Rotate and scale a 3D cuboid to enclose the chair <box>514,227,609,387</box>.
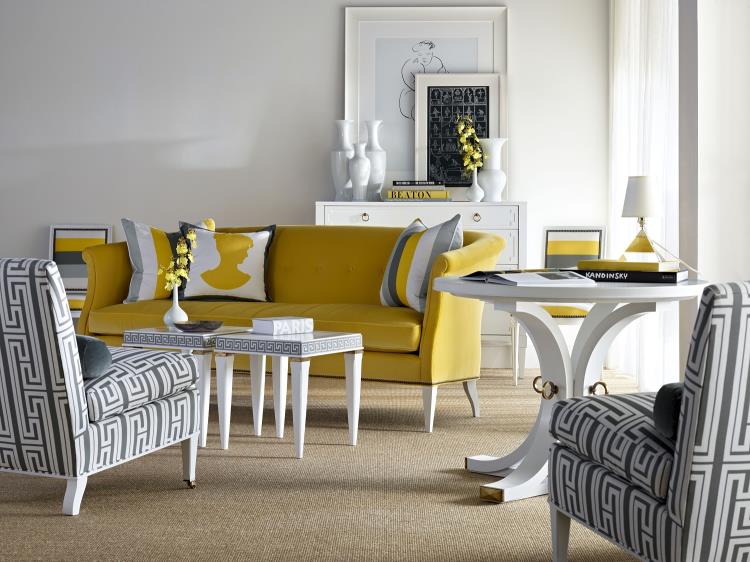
[{"bbox_3d":[1.430,0.304,5.272,0.633,1.241,0.704,-1,34,-9],"label":"chair"}]

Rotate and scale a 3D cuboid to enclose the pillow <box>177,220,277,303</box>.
[{"bbox_3d":[-0.947,-0.101,4.575,0.449,0.467,0.178,2,-13,1],"label":"pillow"}]

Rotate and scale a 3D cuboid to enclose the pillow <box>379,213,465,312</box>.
[{"bbox_3d":[0.249,-0.085,4.242,0.272,0.589,0.619,2,0,-25],"label":"pillow"}]

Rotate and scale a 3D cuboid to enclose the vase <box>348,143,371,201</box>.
[{"bbox_3d":[-0.122,-0.838,5.591,0.172,0.429,0.154,0,5,-1],"label":"vase"}]

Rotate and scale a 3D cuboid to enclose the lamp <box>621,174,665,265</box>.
[{"bbox_3d":[1.675,-0.393,4.537,0.304,0.515,0.311,-6,7,-9],"label":"lamp"}]

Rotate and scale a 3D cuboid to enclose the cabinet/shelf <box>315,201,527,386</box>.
[{"bbox_3d":[0.271,0.082,4.162,1.189,1.241,0.492,0,-2,12],"label":"cabinet/shelf"}]

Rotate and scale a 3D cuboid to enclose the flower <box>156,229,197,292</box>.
[{"bbox_3d":[-1.184,-0.108,4.275,0.109,0.374,0.383,7,-5,-17],"label":"flower"}]

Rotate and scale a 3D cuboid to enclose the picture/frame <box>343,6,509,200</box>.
[{"bbox_3d":[0.448,-1.461,5.777,1.452,1.841,0.097,0,2,3],"label":"picture/frame"}]

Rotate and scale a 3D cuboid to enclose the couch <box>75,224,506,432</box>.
[{"bbox_3d":[-0.643,0.173,4.480,2.321,1.099,1.020,1,5,12],"label":"couch"}]

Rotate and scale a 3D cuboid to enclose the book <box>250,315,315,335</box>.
[{"bbox_3d":[-0.439,0.216,3.429,0.302,0.083,0.103,-3,5,-38],"label":"book"}]

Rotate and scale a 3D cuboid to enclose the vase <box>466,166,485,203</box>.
[{"bbox_3d":[0.792,-0.736,5.541,0.119,0.282,0.373,1,4,8],"label":"vase"}]

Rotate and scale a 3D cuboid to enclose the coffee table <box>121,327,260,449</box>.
[{"bbox_3d":[-0.927,0.488,3.636,0.537,0.569,0.563,0,0,18],"label":"coffee table"}]

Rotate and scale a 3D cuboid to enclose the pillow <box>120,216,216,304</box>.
[{"bbox_3d":[-1.446,-0.103,4.912,0.233,0.515,0.785,6,6,16],"label":"pillow"}]

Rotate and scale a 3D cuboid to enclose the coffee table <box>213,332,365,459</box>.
[{"bbox_3d":[-0.412,0.467,3.563,0.594,0.652,0.607,-1,-1,34],"label":"coffee table"}]

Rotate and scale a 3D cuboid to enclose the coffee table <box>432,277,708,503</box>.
[{"bbox_3d":[0.766,0.415,2.900,0.980,0.804,0.997,1,2,-34],"label":"coffee table"}]

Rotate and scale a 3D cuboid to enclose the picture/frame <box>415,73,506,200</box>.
[{"bbox_3d":[0.645,-1.232,5.783,0.712,1.025,0.056,4,-21,8],"label":"picture/frame"}]
